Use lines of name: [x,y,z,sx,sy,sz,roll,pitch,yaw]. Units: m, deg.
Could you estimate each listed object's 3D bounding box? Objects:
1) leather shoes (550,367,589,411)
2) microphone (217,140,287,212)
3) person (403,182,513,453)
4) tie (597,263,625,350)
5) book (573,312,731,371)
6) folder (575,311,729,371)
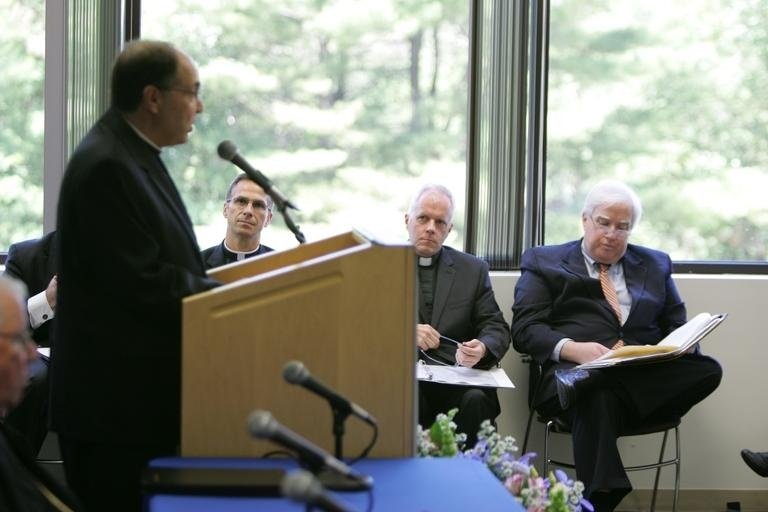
leather shoes: [1.090,0.783,5.807,0.099,0.238,0.203,13,-25,0]
microphone: [-0.796,-0.473,5.981,0.150,0.160,0.777,13,24,-50]
person: [0.465,0.329,6.048,0.604,1.613,0.643,-3,-4,1]
tie: [1.429,0.292,6.301,0.093,0.600,0.085,-14,-18,-3]
book: [1.584,0.510,5.689,0.570,0.184,0.437,-2,-6,-18]
folder: [1.594,0.509,5.694,0.573,0.188,0.436,-3,-5,-17]
